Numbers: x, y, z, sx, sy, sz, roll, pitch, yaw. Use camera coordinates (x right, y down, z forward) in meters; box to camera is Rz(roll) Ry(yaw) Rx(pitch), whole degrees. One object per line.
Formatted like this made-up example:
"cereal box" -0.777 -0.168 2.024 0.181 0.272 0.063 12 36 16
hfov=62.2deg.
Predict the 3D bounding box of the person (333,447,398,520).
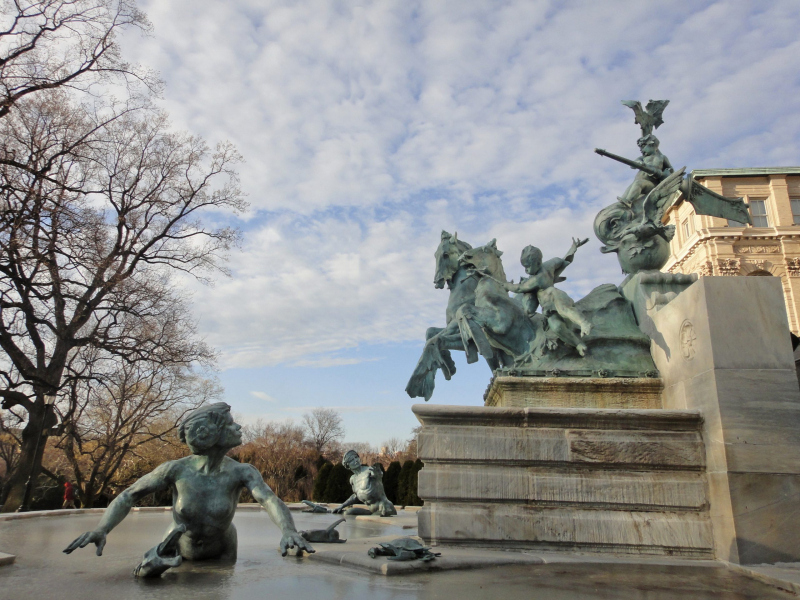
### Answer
"person" -0.745 4.518 15.863 1.581 1.609 1.133 -13 -19 30

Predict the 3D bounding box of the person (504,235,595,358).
"person" 2.380 0.056 10.354 1.176 1.756 0.723 -13 -21 31
